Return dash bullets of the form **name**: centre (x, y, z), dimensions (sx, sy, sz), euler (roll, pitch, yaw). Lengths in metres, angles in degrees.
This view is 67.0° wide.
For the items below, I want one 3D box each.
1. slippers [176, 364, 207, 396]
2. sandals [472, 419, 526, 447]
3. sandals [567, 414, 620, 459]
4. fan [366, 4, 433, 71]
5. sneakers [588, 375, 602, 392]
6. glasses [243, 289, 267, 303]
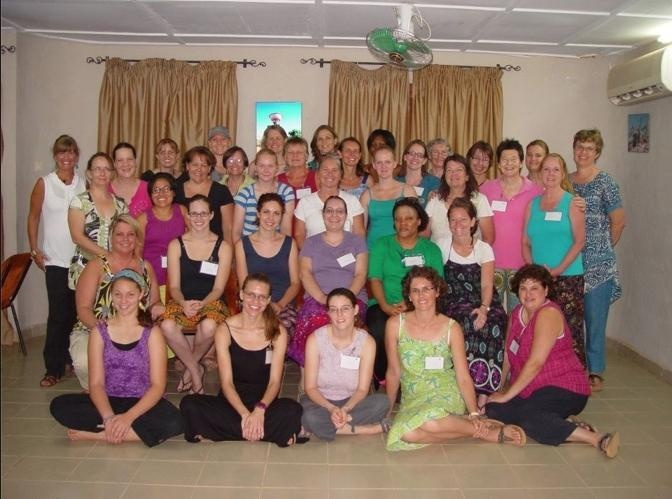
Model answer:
- **slippers**: centre (-1.238, 1.131, 4.355), dimensions (0.202, 0.298, 0.072), euler (34, 29, 21)
- **sandals**: centre (1.179, 1.320, 3.638), dimensions (0.467, 0.164, 0.115), euler (-1, -4, 12)
- **sandals**: centre (1.795, 1.315, 3.669), dimensions (0.183, 0.153, 0.429), euler (16, 1, -31)
- **fan**: centre (0.656, -1.984, 4.826), dimensions (0.569, 0.528, 0.916), euler (4, 10, 17)
- **sneakers**: centre (2.379, 1.230, 4.638), dimensions (0.092, 0.093, 0.256), euler (-3, -7, 13)
- **glasses**: centre (-0.586, 0.341, 3.695), dimensions (0.098, 0.050, 0.131), euler (2, -23, 0)
